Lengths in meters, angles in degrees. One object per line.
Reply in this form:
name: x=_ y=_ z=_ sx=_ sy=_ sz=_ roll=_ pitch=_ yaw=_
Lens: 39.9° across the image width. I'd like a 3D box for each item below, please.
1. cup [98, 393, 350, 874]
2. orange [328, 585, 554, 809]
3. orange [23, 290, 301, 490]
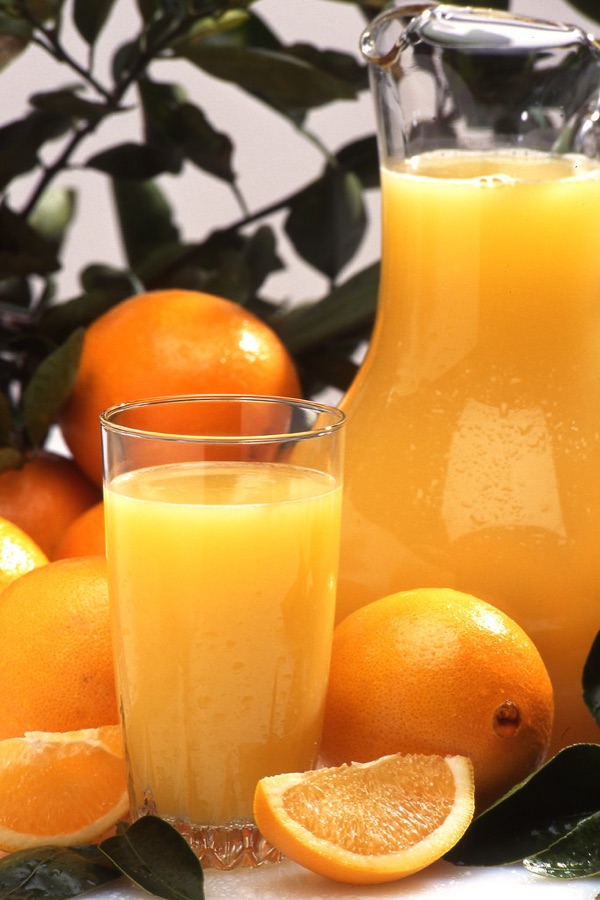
cup: x=-0.040 y=0.094 z=0.417 sx=0.128 sy=0.119 sz=0.211 roll=10 pitch=4 yaw=0
orange: x=0.058 y=0.110 z=0.389 sx=0.100 sy=0.086 sz=0.084 roll=-19 pitch=-20 yaw=26
orange: x=-0.083 y=-0.052 z=0.592 sx=0.161 sy=0.132 sz=0.136 roll=-6 pitch=8 yaw=11
